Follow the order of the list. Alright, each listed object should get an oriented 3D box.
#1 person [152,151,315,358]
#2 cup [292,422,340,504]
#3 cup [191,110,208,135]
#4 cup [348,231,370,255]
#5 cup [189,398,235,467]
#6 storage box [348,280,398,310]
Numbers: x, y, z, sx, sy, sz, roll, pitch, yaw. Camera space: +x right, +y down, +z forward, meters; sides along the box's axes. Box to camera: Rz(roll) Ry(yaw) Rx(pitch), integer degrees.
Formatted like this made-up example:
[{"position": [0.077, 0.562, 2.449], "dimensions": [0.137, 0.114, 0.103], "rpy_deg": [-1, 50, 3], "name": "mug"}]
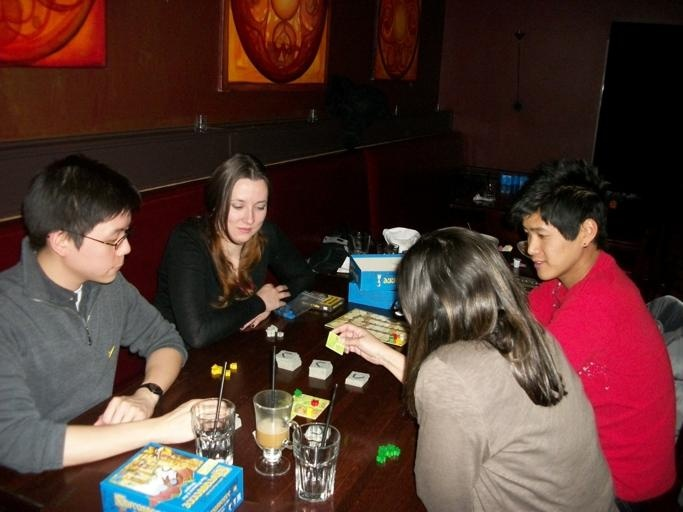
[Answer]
[{"position": [-0.545, 0.011, 2.309], "dimensions": [0.571, 0.907, 0.810], "rpy_deg": [15, 20, 19], "name": "person"}, {"position": [-0.045, 0.537, 1.296], "dimensions": [0.144, 0.184, 0.149], "rpy_deg": [1, 4, 0], "name": "cup"}, {"position": [-0.802, -0.773, 2.824], "dimensions": [0.070, 0.106, 0.160], "rpy_deg": [2, 11, 15], "name": "cup"}, {"position": [0.102, -0.082, 2.863], "dimensions": [0.105, 0.124, 0.124], "rpy_deg": [0, 12, -1], "name": "cup"}, {"position": [-0.358, 0.498, 1.363], "dimensions": [0.122, 0.153, 0.123], "rpy_deg": [-2, -13, -1], "name": "cup"}, {"position": [0.142, 0.128, 2.268], "dimensions": [0.207, 0.151, 0.122], "rpy_deg": [9, 17, 3], "name": "storage box"}]
